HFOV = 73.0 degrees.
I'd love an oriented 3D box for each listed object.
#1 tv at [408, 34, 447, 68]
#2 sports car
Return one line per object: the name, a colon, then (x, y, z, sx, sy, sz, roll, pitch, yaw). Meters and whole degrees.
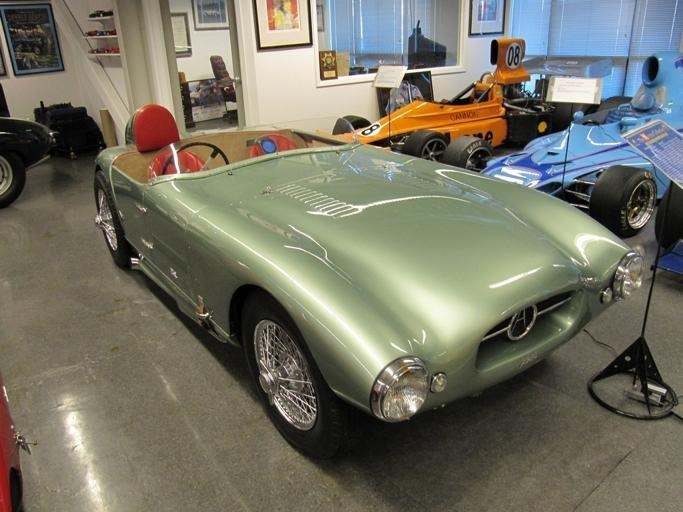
tv: (1.457, -3.494, 7.925, 0.510, 0.611, 0.579, -7, 19, -14)
sports car: (-0.270, 0.097, 2.754, 1.601, 1.096, 3.137, -20, 33, -36)
